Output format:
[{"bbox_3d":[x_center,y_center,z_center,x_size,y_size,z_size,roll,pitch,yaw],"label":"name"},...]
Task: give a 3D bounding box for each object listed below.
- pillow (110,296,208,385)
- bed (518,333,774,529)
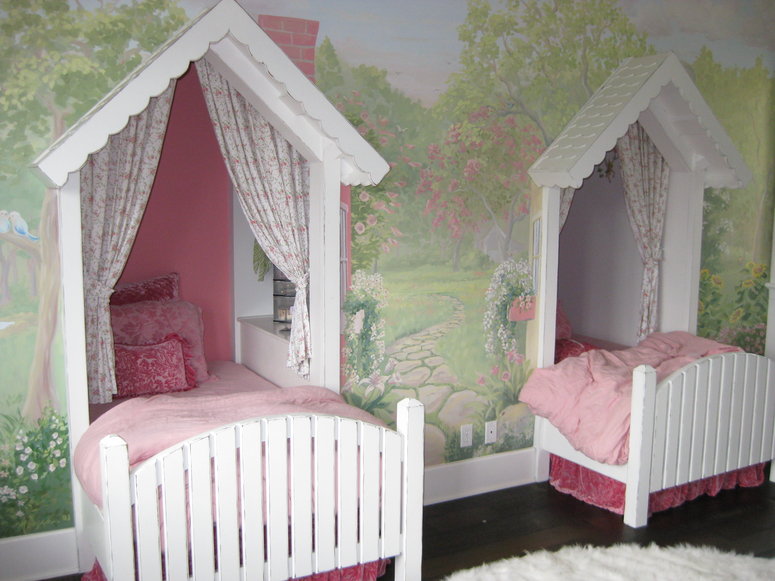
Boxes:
[{"bbox_3d":[-1.543,0.318,4.538,0.582,0.583,0.170,-3,-19,-40],"label":"pillow"},{"bbox_3d":[1.692,0.886,4.591,1.332,0.998,0.876,-5,12,-33],"label":"bed"}]
